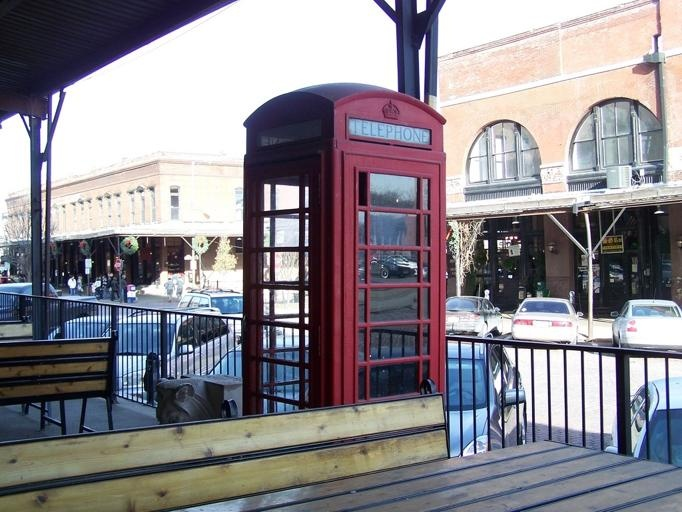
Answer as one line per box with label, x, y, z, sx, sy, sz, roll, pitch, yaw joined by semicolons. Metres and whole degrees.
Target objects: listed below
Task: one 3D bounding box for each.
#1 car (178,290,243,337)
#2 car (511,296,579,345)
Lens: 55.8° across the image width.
car;-3.114;1.206;15.903;1.257;1.176;2.086;-1;-3;-35
car;6.246;2.125;19.763;1.369;1.088;3.127;1;4;16
